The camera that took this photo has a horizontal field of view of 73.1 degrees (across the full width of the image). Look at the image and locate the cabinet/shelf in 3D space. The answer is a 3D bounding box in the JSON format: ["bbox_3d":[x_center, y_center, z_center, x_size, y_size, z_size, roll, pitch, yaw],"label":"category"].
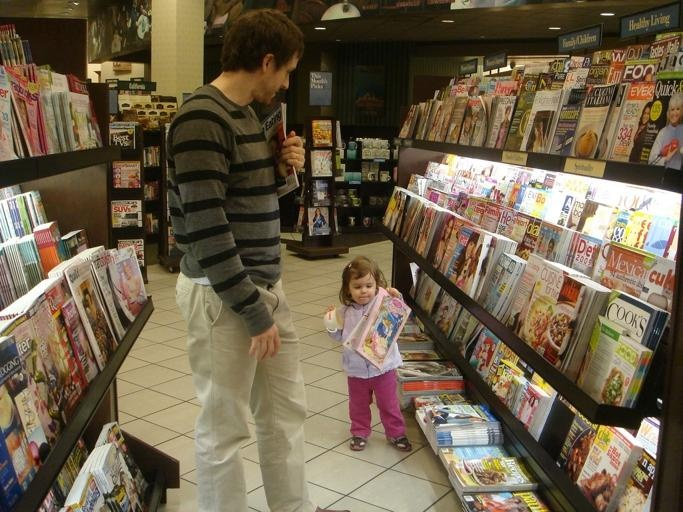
[{"bbox_3d":[-0.400,-0.073,3.301,3.182,2.681,2.390,0,4,-23],"label":"cabinet/shelf"}]

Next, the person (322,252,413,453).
[{"bbox_3d":[0.138,0.674,3.005,0.543,1.274,0.442,-4,11,-10],"label":"person"}]

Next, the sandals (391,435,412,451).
[{"bbox_3d":[0.400,1.207,2.967,0.062,0.050,0.120,-1,-1,-21],"label":"sandals"}]

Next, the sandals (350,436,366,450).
[{"bbox_3d":[0.108,1.207,2.957,0.065,0.043,0.108,1,-6,4],"label":"sandals"}]
